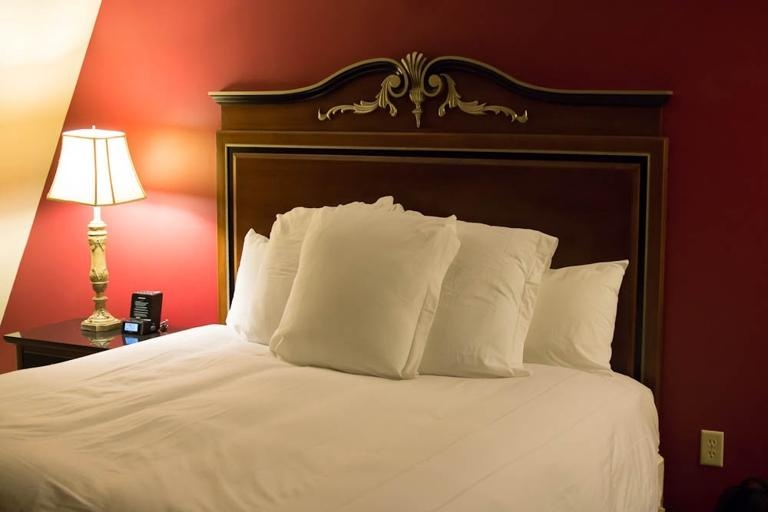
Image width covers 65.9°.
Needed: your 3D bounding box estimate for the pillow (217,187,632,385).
[{"bbox_3d":[0.195,0.114,2.656,1.709,0.722,0.543,3,-1,-2],"label":"pillow"}]
